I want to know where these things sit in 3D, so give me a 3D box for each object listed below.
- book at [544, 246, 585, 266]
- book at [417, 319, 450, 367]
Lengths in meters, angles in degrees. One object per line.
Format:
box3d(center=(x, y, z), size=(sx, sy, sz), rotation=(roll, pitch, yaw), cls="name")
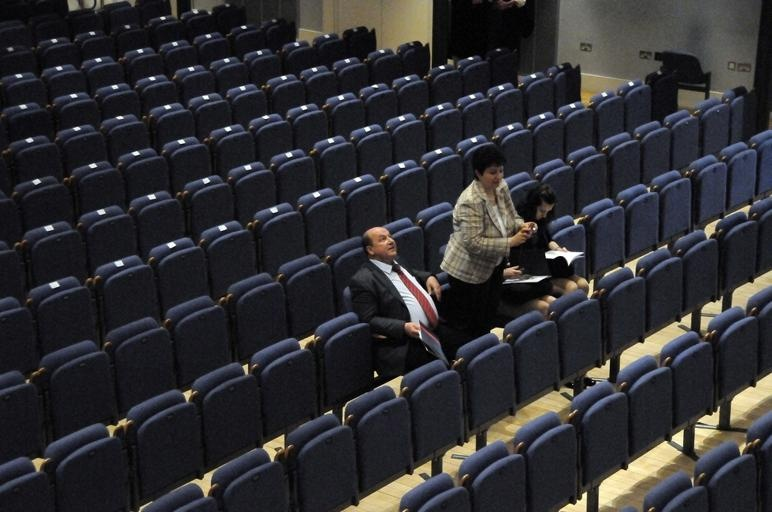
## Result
box3d(center=(1.600, -0.024, 7.910), size=(0.226, 0.055, 0.209), rotation=(11, 25, 30), cls="book")
box3d(center=(0.379, 0.729, 7.243), size=(0.042, 0.399, 0.417), rotation=(-35, -10, 11), cls="book")
